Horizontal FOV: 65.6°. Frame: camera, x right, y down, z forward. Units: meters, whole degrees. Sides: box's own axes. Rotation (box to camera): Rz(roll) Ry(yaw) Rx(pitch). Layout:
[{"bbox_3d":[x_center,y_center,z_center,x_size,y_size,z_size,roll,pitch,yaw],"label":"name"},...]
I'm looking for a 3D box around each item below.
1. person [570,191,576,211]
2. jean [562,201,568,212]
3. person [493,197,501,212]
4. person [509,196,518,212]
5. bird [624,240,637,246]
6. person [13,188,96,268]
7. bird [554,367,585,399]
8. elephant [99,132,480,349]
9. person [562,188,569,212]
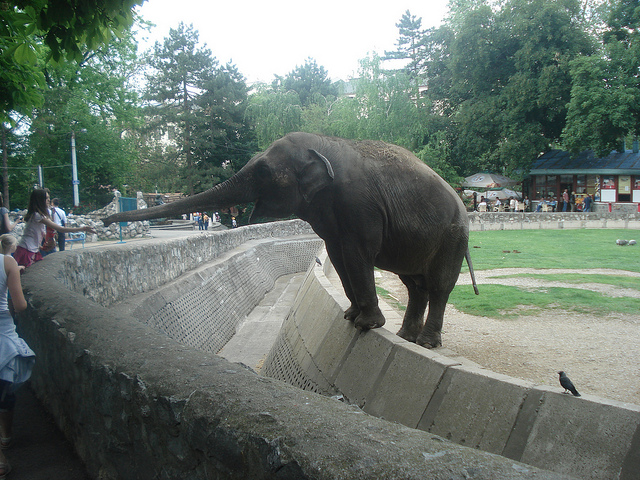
[{"bbox_3d":[16.991,-2.566,33.522,0.362,1.316,0.471,8,1,27],"label":"person"},{"bbox_3d":[16.295,-2.255,33.178,0.271,0.662,0.368,8,1,36],"label":"jean"},{"bbox_3d":[12.715,-2.547,35.815,0.480,0.528,1.442,3,43,32],"label":"person"},{"bbox_3d":[13.093,-2.350,33.679,0.488,1.023,0.686,8,1,19],"label":"person"},{"bbox_3d":[10.613,0.117,17.008,0.358,0.199,0.171,1,5,28],"label":"bird"},{"bbox_3d":[-4.038,-0.178,7.378,0.829,1.005,2.226,7,1,-31],"label":"person"},{"bbox_3d":[1.674,0.972,3.352,0.084,0.142,0.173,0,4,-35],"label":"bird"},{"bbox_3d":[-0.095,-0.029,5.614,3.877,2.369,1.629,6,4,-11],"label":"elephant"},{"bbox_3d":[16.511,-2.685,33.495,0.400,1.676,1.108,8,1,25],"label":"person"}]
